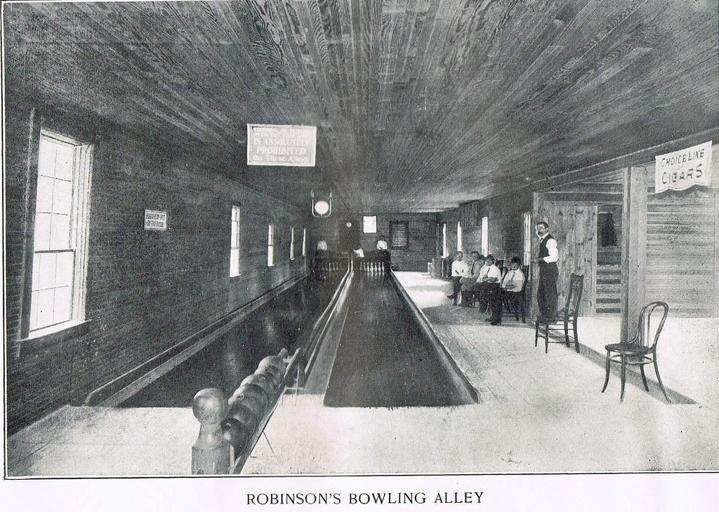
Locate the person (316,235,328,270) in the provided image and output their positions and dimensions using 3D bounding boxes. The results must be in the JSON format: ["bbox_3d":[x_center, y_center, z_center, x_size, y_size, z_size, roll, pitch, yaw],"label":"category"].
[{"bbox_3d":[-1.429,-0.074,19.203,0.442,1.096,1.232,-1,3,-6],"label":"person"}]

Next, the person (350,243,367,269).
[{"bbox_3d":[-0.029,0.050,19.213,0.646,1.469,0.721,1,-2,-3],"label":"person"}]

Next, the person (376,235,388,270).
[{"bbox_3d":[0.864,-0.097,18.931,0.357,1.204,1.018,-1,3,3],"label":"person"}]

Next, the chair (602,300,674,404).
[{"bbox_3d":[2.895,0.978,5.390,0.509,1.051,0.496,1,1,17],"label":"chair"}]
